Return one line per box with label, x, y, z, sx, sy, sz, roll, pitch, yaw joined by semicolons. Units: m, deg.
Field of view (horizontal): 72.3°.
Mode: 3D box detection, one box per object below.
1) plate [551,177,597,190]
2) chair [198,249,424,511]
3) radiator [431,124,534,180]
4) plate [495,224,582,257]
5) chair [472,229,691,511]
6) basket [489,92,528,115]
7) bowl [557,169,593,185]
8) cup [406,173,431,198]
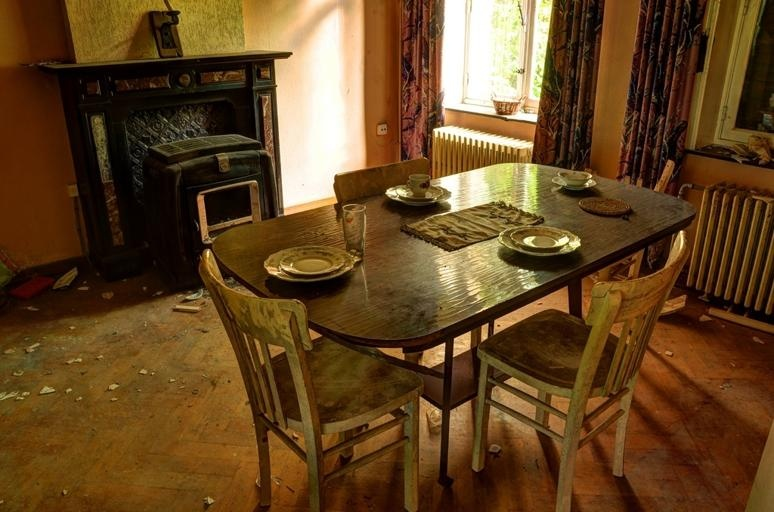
plate;1.074;-0.419;3.065;0.132;0.030;0.132;19;30;34
chair;-0.281;0.587;2.320;0.831;1.241;0.576;-9;25;-16
radiator;0.826;-0.896;4.476;0.267;0.600;0.675;-23;35;-36
plate;0.718;-0.075;2.490;0.218;0.028;0.214;13;32;29
chair;0.856;0.503;2.489;0.644;1.250;0.763;20;31;40
basket;1.110;-1.351;4.800;0.246;0.148;0.243;-25;38;-32
bowl;1.088;-0.464;3.105;0.139;0.049;0.140;-4;31;2
cup;0.168;-0.395;2.964;0.116;0.098;0.141;-20;29;-39
